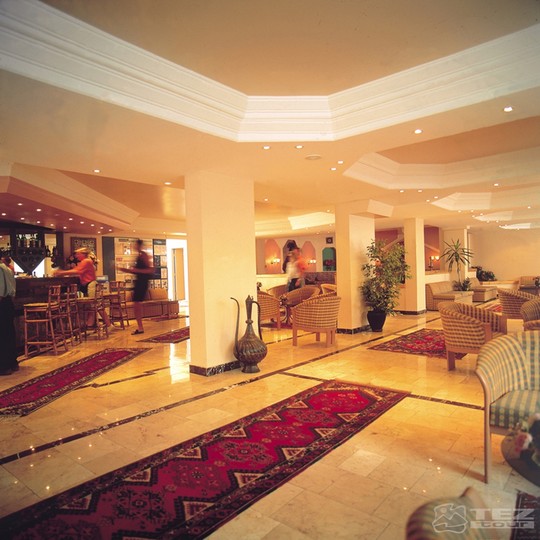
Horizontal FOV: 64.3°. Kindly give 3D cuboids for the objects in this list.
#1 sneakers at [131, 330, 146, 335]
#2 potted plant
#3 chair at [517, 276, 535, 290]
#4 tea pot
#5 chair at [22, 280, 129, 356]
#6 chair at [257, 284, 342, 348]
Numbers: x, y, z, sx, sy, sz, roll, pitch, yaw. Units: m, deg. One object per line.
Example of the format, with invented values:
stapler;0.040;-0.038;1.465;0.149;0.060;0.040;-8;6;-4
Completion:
sneakers;-3.038;1.432;9.807;0.328;0.110;0.104;1;-1;10
potted plant;2.455;0.353;9.347;0.952;1.958;0.524;-1;2;15
chair;10.338;0.501;17.336;0.885;0.537;0.601;-2;-5;43
tea pot;-0.327;0.914;6.251;0.456;1.051;0.839;-2;1;-6
chair;-4.176;0.828;8.574;1.053;1.112;2.569;-2;1;0
chair;0.642;0.841;8.168;1.290;0.835;1.212;1;0;24
